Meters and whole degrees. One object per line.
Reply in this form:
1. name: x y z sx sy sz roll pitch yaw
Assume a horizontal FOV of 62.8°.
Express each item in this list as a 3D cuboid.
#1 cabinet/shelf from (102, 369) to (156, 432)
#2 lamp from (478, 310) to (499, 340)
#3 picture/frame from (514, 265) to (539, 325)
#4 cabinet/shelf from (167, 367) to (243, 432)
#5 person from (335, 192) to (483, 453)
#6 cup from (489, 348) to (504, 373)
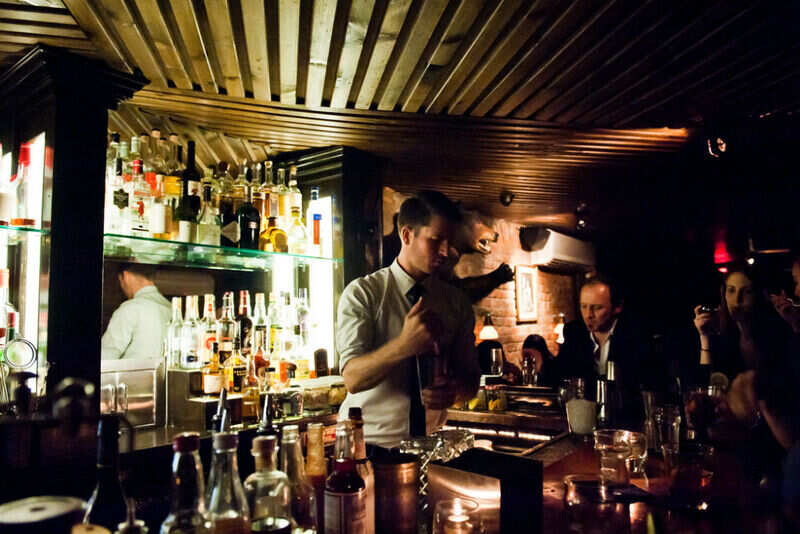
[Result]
1. cabinet/shelf: -1.514 0.704 3.654 0.382 0.344 0.254 -3 -1 -3
2. lamp: 0.870 0.592 6.604 0.253 0.323 0.249 -1 -11 0
3. picture/frame: 1.497 0.297 7.724 0.055 0.644 0.684 -2 -5 29
4. cabinet/shelf: -1.094 0.747 3.811 0.278 0.320 0.497 4 -4 14
5. person: 0.069 0.243 3.347 0.774 1.323 1.018 1 -5 -6
6. cup: 0.698 0.680 4.737 0.059 0.186 0.072 0 -5 -1
